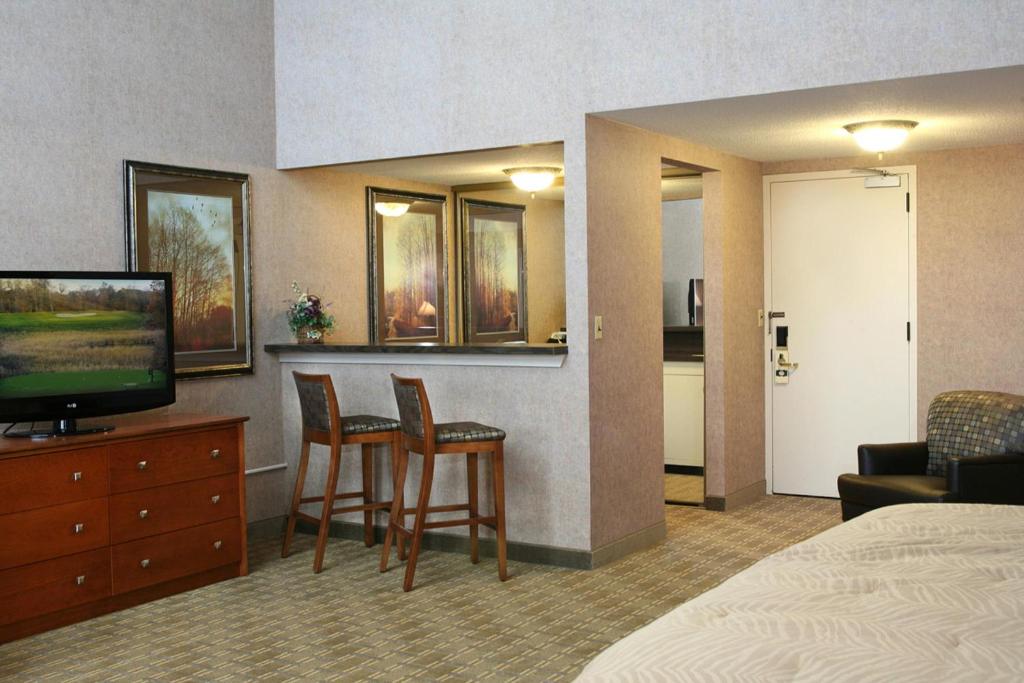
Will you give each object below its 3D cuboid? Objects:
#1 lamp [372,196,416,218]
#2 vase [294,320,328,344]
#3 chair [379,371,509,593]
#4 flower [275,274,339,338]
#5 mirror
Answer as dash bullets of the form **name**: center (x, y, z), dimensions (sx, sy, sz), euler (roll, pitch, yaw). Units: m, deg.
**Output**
- **lamp**: center (-1.164, -1.294, 7.237), dimensions (0.045, 0.185, 0.459), euler (3, 6, 37)
- **vase**: center (-1.718, -0.083, 6.326), dimensions (0.210, 0.132, 0.192), euler (-1, 2, -40)
- **chair**: center (-0.508, 0.957, 5.420), dimensions (0.999, 1.479, 0.964), euler (0, 5, 10)
- **flower**: center (-1.775, -0.262, 6.428), dimensions (0.387, 0.538, 0.487), euler (-3, 6, -19)
- **mirror**: center (-0.103, -0.885, 8.025), dimensions (1.703, 1.967, 0.109), euler (-2, 2, -43)
